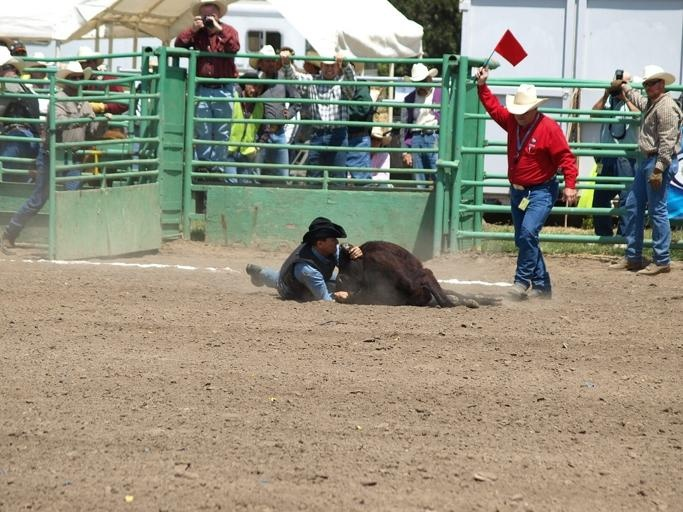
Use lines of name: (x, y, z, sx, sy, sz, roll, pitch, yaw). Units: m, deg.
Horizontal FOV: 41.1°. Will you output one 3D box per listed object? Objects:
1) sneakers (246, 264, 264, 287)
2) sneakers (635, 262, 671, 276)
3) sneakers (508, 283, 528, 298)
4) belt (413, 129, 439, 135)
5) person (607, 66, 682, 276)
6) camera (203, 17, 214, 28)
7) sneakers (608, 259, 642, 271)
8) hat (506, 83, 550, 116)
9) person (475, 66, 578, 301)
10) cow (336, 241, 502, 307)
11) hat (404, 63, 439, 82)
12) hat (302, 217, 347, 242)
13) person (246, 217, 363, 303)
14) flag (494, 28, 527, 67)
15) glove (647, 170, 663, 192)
sneakers: (-0.892, 0.199, 9.289, 0.124, 0.218, 0.181, -37, 24, -33)
sneakers: (3.495, 0.143, 10.258, 0.384, 0.113, 0.138, 1, 8, -6)
sneakers: (1.721, 0.344, 9.067, 0.172, 0.144, 0.167, -2, -10, -29)
belt: (1.118, -1.657, 12.181, 0.329, 0.107, 0.772, 2, 11, 4)
person: (3.458, -0.964, 10.290, 0.550, 2.301, 0.894, 1, 12, -3)
camera: (-1.680, -2.921, 11.452, 0.136, 0.136, 0.048, 9, 14, 33)
sneakers: (3.296, 0.084, 10.582, 0.406, 0.149, 0.126, 5, 9, 13)
hat: (1.773, -1.525, 8.925, 0.302, 0.296, 0.439, 4, 11, 9)
person: (1.910, -0.657, 9.220, 0.726, 2.105, 0.892, 0, 12, -9)
cow: (0.619, 0.181, 8.730, 1.186, 0.409, 0.729, 1, -4, 4)
hat: (1.125, -2.532, 12.584, 0.329, 0.238, 0.917, 3, 11, 7)
hat: (-0.179, -0.251, 8.537, 0.350, 0.121, 0.243, -5, 8, 1)
person: (-0.300, 0.099, 8.681, 1.196, 0.597, 0.780, -1, -40, -1)
flag: (1.798, -2.236, 9.737, 0.294, 0.390, 0.957, 4, 11, 9)
glove: (3.410, -0.829, 9.917, 0.104, 0.191, 0.158, -4, -10, -3)
